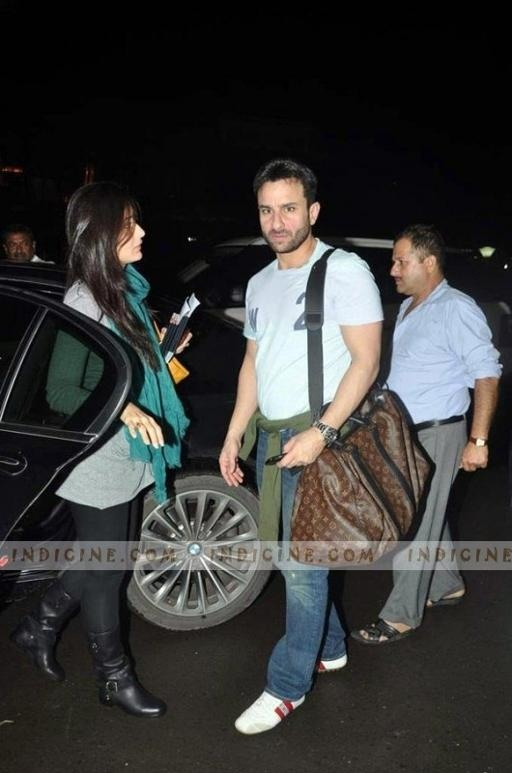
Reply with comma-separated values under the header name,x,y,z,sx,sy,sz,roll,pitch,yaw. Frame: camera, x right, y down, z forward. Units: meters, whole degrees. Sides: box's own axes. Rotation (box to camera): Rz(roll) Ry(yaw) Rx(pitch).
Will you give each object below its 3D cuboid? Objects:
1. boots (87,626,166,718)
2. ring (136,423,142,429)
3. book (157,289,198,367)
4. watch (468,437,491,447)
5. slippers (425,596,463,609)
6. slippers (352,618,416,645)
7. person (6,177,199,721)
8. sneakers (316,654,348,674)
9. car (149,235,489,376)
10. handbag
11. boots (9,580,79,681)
name,x,y,z,sx,sy,sz,roll,pitch,yaw
boots,-0.439,0.965,1.887,0.257,0.326,0.113,5,20,22
ring,-0.327,0.108,1.554,0.011,0.026,0.014,0,8,1
book,-0.265,-0.177,1.940,0.089,0.342,0.082,6,30,-32
watch,0.968,0.237,2.364,0.058,0.037,0.058,3,-2,-4
slippers,0.945,1.077,2.747,0.175,0.066,0.061,-5,-1,-8
slippers,0.571,1.086,2.455,0.259,0.083,0.100,0,8,-10
person,-0.458,0.265,1.856,0.437,1.786,0.657,-4,7,-41
sneakers,0.307,1.116,2.204,0.137,0.057,0.049,-1,5,-10
car,0.512,-0.662,3.670,2.081,1.002,1.152,-4,5,-16
handbag,0.329,0.228,1.707,0.259,0.501,0.532,-2,23,38
boots,-0.726,0.910,2.066,0.259,0.327,0.139,40,20,14
